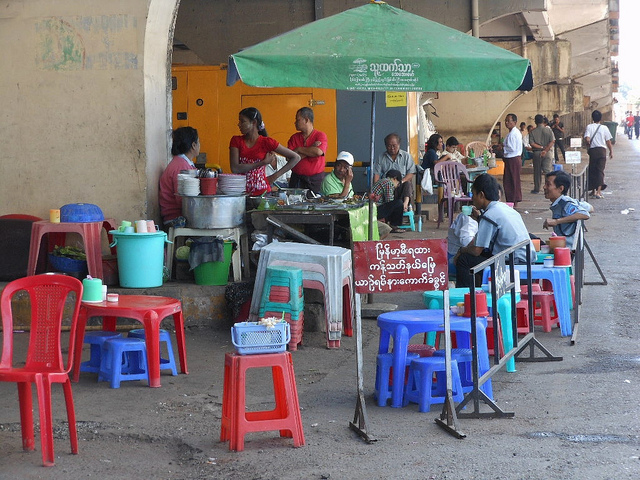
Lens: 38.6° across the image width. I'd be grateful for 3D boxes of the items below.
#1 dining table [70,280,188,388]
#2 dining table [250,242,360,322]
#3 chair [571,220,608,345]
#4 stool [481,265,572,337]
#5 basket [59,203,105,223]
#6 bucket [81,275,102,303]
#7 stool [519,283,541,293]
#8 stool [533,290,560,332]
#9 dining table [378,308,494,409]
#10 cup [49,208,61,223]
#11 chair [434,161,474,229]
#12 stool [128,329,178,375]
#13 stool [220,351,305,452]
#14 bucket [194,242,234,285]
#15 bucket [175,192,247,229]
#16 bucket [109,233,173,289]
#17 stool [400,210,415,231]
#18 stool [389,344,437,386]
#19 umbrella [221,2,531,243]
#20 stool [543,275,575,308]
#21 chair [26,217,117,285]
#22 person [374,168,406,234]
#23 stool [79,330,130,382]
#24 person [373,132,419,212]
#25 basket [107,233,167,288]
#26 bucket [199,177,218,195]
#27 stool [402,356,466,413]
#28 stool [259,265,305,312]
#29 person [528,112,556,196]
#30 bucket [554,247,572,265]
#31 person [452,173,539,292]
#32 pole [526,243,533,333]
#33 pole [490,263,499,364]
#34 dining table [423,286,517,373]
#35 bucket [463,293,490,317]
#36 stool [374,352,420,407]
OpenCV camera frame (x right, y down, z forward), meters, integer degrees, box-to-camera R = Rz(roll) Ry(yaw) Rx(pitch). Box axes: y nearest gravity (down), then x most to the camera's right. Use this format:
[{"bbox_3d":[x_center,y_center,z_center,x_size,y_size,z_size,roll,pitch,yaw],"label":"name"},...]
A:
[{"bbox_3d":[-1.706,0.866,8.733,0.988,0.810,0.944,2,-2,7],"label":"dining table"},{"bbox_3d":[-0.164,0.267,9.536,0.919,0.755,0.786,3,4,18],"label":"dining table"},{"bbox_3d":[3.207,0.529,10.902,0.274,0.603,1.125,-5,17,13],"label":"chair"},{"bbox_3d":[2.377,0.591,9.987,0.886,0.723,0.927,-1,-4,18],"label":"stool"},{"bbox_3d":[-2.596,-0.289,9.926,0.398,0.189,0.379,5,13,27],"label":"basket"},{"bbox_3d":[-2.104,0.450,8.423,0.206,0.248,0.220,1,-1,0],"label":"bucket"},{"bbox_3d":[2.271,0.503,9.796,0.219,0.093,0.230,0,5,11],"label":"stool"},{"bbox_3d":[2.424,0.728,9.791,0.386,0.395,0.401,-3,5,29],"label":"stool"},{"bbox_3d":[0.985,0.892,7.939,0.854,0.708,0.903,-1,-1,23],"label":"dining table"},{"bbox_3d":[-2.862,-0.267,9.848,0.117,0.132,0.122,1,-2,0],"label":"cup"},{"bbox_3d":[2.423,-0.799,16.097,0.859,1.166,0.860,-4,6,-44],"label":"chair"},{"bbox_3d":[-1.594,1.029,8.683,0.444,0.409,0.338,-3,11,-12],"label":"stool"},{"bbox_3d":[-0.469,1.249,7.397,0.695,0.817,0.689,-4,-3,23],"label":"stool"},{"bbox_3d":[-1.206,0.253,10.100,0.419,0.340,0.417,1,-2,0],"label":"bucket"},{"bbox_3d":[-1.236,-0.345,10.482,0.847,0.383,0.879,1,4,0],"label":"bucket"},{"bbox_3d":[-1.953,0.181,9.974,0.687,0.624,0.602,-1,7,-5],"label":"bucket"},{"bbox_3d":[1.535,-0.344,15.798,0.291,0.327,0.306,0,-2,4],"label":"stool"},{"bbox_3d":[0.843,1.087,8.121,0.325,0.331,0.340,1,-1,-2],"label":"stool"},{"bbox_3d":[0.394,-1.400,10.045,2.485,2.566,2.806,0,4,-9],"label":"umbrella"},{"bbox_3d":[2.593,0.518,10.086,0.359,0.378,0.373,-2,1,37],"label":"stool"},{"bbox_3d":[-2.818,0.145,10.146,0.965,0.658,1.018,5,6,20],"label":"chair"},{"bbox_3d":[1.167,-0.686,15.422,0.587,1.022,0.593,5,1,19],"label":"person"},{"bbox_3d":[-2.036,1.066,8.688,0.424,0.431,0.445,1,1,5],"label":"stool"},{"bbox_3d":[1.277,-1.129,15.547,0.689,1.369,0.913,-4,-1,-3],"label":"person"},{"bbox_3d":[-1.958,0.173,10.033,0.665,0.626,0.687,-1,7,-10],"label":"basket"},{"bbox_3d":[-1.252,-0.600,10.217,0.161,0.135,0.169,0,-3,0],"label":"bucket"},{"bbox_3d":[0.991,1.187,7.829,0.466,0.443,0.451,0,-1,-35],"label":"stool"},{"bbox_3d":[-0.392,0.499,9.471,0.411,0.430,0.416,3,-5,5],"label":"stool"},{"bbox_3d":[5.312,-2.094,21.930,0.504,1.877,0.707,0,15,15],"label":"person"},{"bbox_3d":[2.644,0.172,9.906,0.164,0.172,0.169,0,-4,0],"label":"bucket"},{"bbox_3d":[1.830,0.074,9.885,1.007,1.497,0.681,5,9,36],"label":"person"},{"bbox_3d":[1.914,0.416,8.345,0.080,0.858,0.318,2,11,13],"label":"pole"},{"bbox_3d":[1.457,0.617,7.615,0.084,0.867,0.313,2,11,15],"label":"pole"},{"bbox_3d":[1.446,0.751,8.634,0.819,0.671,0.858,-1,-5,5],"label":"dining table"},{"bbox_3d":[1.371,0.562,8.015,0.188,0.163,0.197,0,-7,0],"label":"bucket"},{"bbox_3d":[0.673,1.159,7.941,0.395,0.413,0.411,-1,1,26],"label":"stool"}]
